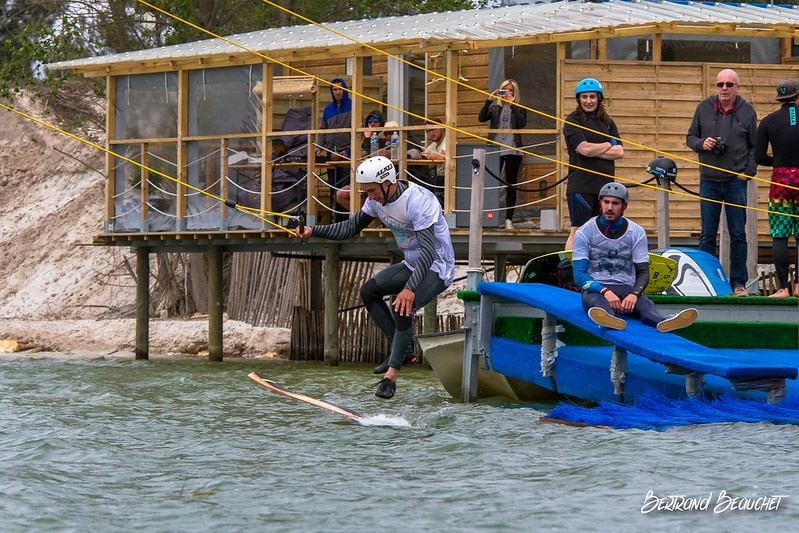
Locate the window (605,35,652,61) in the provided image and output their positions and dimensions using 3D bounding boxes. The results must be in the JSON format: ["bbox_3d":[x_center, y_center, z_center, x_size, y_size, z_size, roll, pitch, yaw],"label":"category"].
[{"bbox_3d":[4.306,-4.015,31.116,1.018,0.630,0.518,0,1,10],"label":"window"}]

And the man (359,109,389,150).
[{"bbox_3d":[-0.417,-2.261,28.338,0.555,0.633,0.242,0,2,-7],"label":"man"}]

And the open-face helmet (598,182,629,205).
[{"bbox_3d":[2.936,-0.963,22.710,0.288,0.258,0.332,7,-34,13],"label":"open-face helmet"}]

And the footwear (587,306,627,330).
[{"bbox_3d":[2.680,0.682,21.847,0.587,0.195,0.215,22,5,-3],"label":"footwear"}]

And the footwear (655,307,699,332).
[{"bbox_3d":[3.677,0.725,22.072,0.642,0.231,0.239,-21,16,0],"label":"footwear"}]

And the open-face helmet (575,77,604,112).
[{"bbox_3d":[2.812,-2.488,24.685,0.373,0.474,0.539,0,2,4],"label":"open-face helmet"}]

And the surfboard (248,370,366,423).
[{"bbox_3d":[-1.320,1.829,23.207,0.544,0.264,3.945,11,-1,-32],"label":"surfboard"}]

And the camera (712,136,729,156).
[{"bbox_3d":[4.726,-1.740,24.478,0.224,0.203,0.212,7,-3,18],"label":"camera"}]
